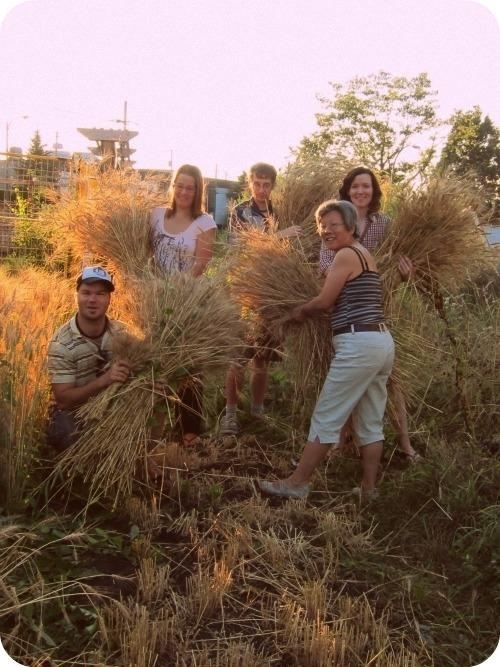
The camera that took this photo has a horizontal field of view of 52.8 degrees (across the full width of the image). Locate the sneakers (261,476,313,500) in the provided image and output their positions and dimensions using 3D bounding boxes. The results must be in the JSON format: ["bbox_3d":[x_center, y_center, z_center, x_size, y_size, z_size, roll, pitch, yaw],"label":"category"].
[{"bbox_3d":[0.169,0.746,2.497,0.259,0.090,0.092,5,0,19],"label":"sneakers"}]

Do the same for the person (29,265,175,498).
[{"bbox_3d":[-0.650,0.211,2.248,0.552,0.991,0.356,14,6,41],"label":"person"}]

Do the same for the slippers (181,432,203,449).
[{"bbox_3d":[-0.334,0.613,2.862,0.102,0.099,0.029,35,-6,-29],"label":"slippers"}]
